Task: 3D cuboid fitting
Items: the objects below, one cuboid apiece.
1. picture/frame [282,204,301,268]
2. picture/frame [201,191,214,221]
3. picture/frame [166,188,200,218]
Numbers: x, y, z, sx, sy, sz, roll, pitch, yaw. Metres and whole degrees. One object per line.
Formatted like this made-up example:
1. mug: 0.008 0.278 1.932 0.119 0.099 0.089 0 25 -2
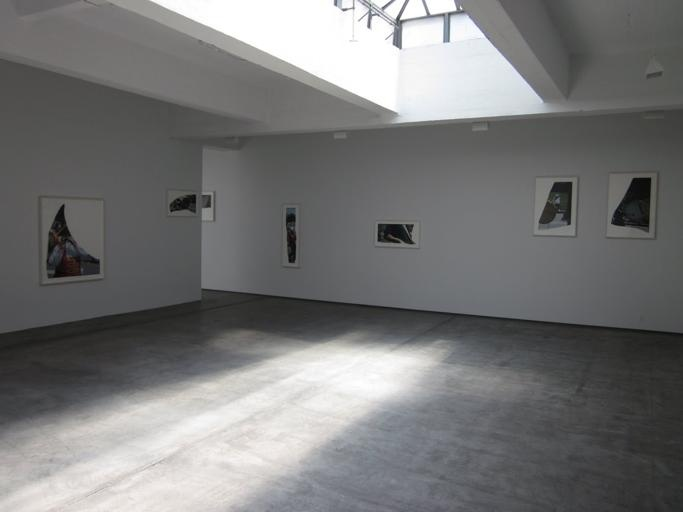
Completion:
1. picture/frame: -1.397 -0.552 12.391 0.533 1.643 0.106 3 5 33
2. picture/frame: -4.023 -1.475 13.452 0.444 0.889 0.107 3 4 30
3. picture/frame: -3.990 -1.314 11.044 0.092 0.561 0.704 5 6 34
